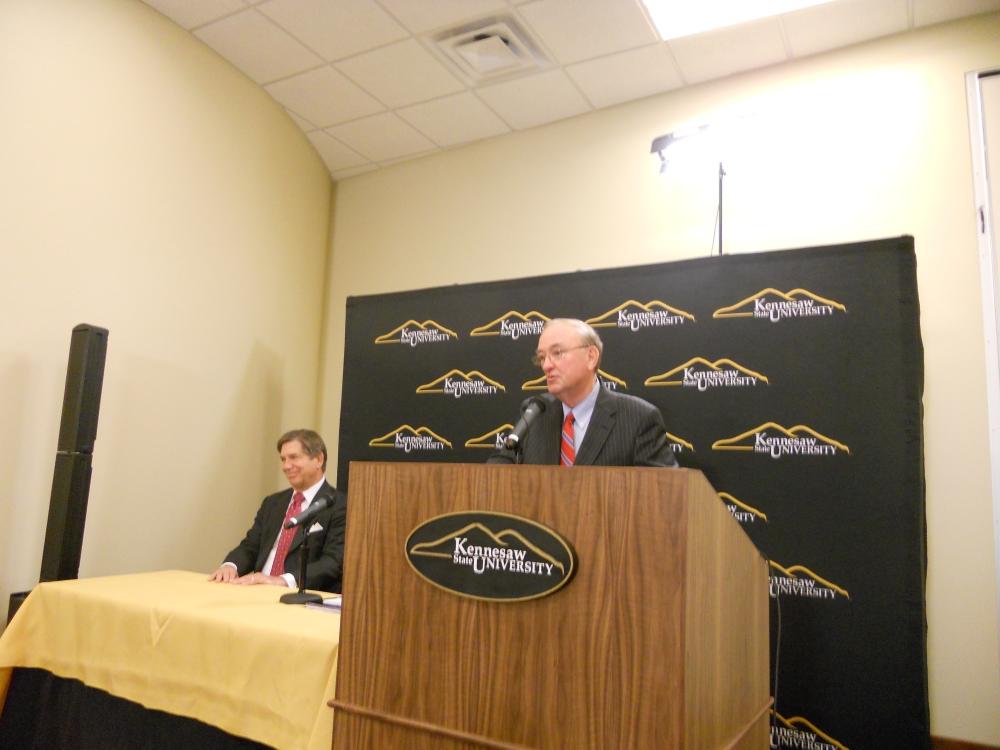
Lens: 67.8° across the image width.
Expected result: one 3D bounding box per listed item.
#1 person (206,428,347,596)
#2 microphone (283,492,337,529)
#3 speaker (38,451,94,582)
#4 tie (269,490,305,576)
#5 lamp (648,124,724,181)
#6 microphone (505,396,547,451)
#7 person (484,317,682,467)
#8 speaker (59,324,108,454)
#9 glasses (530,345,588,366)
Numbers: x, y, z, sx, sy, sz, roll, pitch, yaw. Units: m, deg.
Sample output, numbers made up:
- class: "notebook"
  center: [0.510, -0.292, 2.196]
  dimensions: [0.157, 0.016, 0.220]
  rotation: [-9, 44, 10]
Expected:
- class: "person"
  center: [-1.147, 0.842, 4.085]
  dimensions: [0.610, 1.063, 0.559]
  rotation: [-3, -18, 17]
- class: "microphone"
  center: [-0.787, 0.578, 3.100]
  dimensions: [0.162, 0.142, 0.400]
  rotation: [2, -3, -10]
- class: "speaker"
  center: [-2.196, 0.715, 3.781]
  dimensions: [0.133, 0.649, 0.155]
  rotation: [7, 1, -16]
- class: "tie"
  center: [-1.111, 0.846, 3.899]
  dimensions: [0.085, 0.554, 0.075]
  rotation: [5, -41, 8]
- class: "lamp"
  center: [1.169, -1.426, 4.690]
  dimensions: [0.366, 0.254, 0.374]
  rotation: [-12, 1, 21]
- class: "microphone"
  center: [0.078, 0.152, 2.492]
  dimensions: [0.068, 0.078, 0.308]
  rotation: [19, 36, 14]
- class: "person"
  center: [0.346, 0.124, 3.026]
  dimensions: [0.789, 0.736, 0.466]
  rotation: [6, 10, 41]
- class: "speaker"
  center: [-2.168, 0.075, 3.880]
  dimensions: [0.161, 0.695, 0.180]
  rotation: [0, -7, 32]
- class: "glasses"
  center: [0.251, -0.080, 2.919]
  dimensions: [0.208, 0.112, 0.109]
  rotation: [2, -2, 8]
